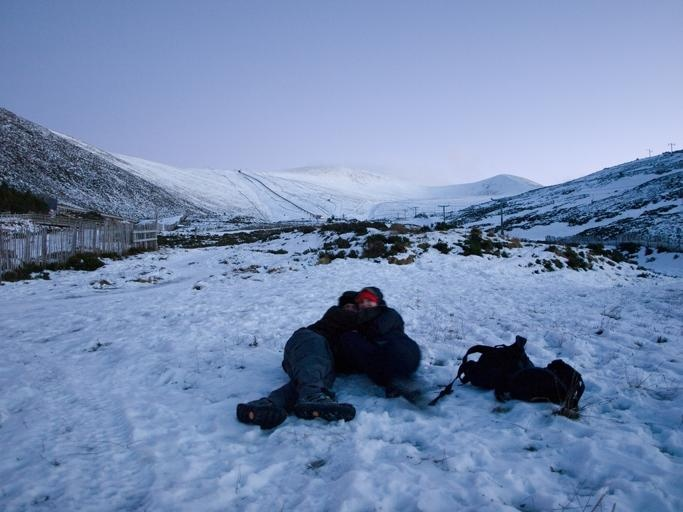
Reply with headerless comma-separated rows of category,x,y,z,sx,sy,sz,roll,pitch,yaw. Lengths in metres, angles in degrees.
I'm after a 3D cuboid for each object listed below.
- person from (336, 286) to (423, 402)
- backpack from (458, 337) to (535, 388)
person,0.546,1.398,7.400,1.385,1.798,1.011,10,-33,-16
backpack,2.391,1.679,6.903,1.169,0.384,0.841,-26,9,-23
